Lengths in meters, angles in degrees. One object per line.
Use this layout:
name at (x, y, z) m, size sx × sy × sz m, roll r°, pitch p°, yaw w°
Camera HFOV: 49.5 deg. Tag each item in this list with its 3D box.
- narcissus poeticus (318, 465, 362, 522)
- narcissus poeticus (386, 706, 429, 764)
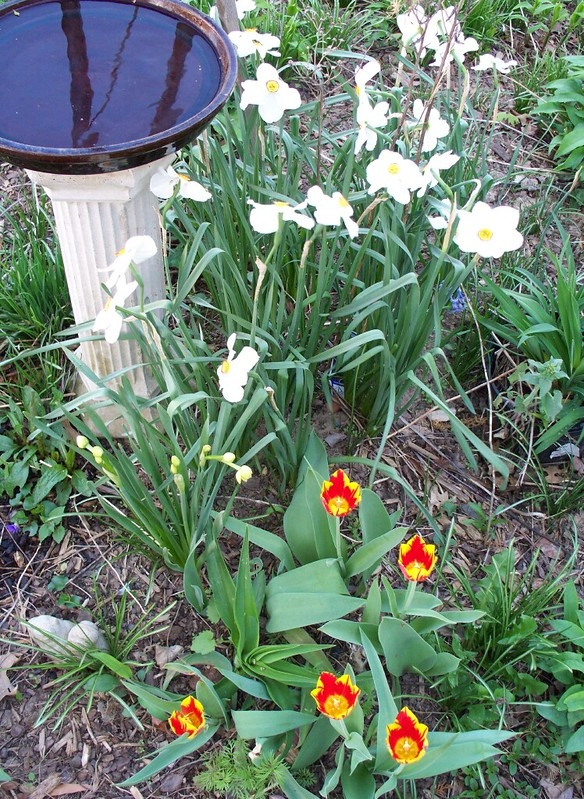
narcissus poeticus at (0.100, 0.186, 1.265) m, size 0.094 × 0.061 × 0.103 m, roll -16°, pitch 76°, yaw 2°
narcissus poeticus at (0.180, 0.530, 0.990) m, size 0.079 × 0.045 × 0.096 m, roll -6°, pitch 79°, yaw 22°
